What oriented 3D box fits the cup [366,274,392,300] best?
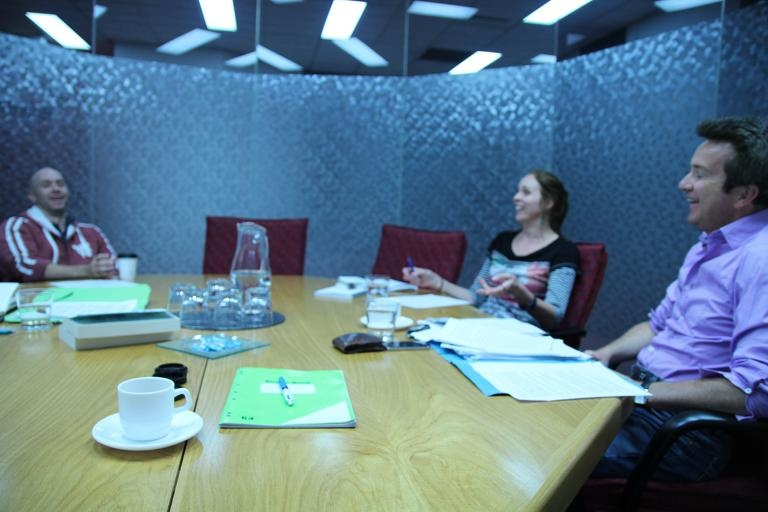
[{"bbox_3d":[-0.020,0.134,2.288,0.095,0.102,0.097,2,-4,0],"label":"cup"}]

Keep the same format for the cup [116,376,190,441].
[{"bbox_3d":[-0.554,0.348,1.259,0.170,0.116,0.126,4,-3,-27],"label":"cup"}]

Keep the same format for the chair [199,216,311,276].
[{"bbox_3d":[-0.854,-0.015,3.690,0.453,0.617,0.511,1,-5,-2],"label":"chair"}]

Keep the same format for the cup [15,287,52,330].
[{"bbox_3d":[-1.234,0.183,1.890,0.144,0.154,0.139,-1,-8,0],"label":"cup"}]

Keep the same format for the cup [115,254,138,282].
[{"bbox_3d":[-1.325,0.066,2.805,0.139,0.151,0.136,2,0,0],"label":"cup"}]

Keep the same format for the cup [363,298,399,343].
[{"bbox_3d":[-0.021,0.245,1.970,0.128,0.135,0.132,2,0,0],"label":"cup"}]

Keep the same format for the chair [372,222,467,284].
[{"bbox_3d":[0.326,0.003,3.635,0.414,0.565,0.470,6,-9,31],"label":"chair"}]

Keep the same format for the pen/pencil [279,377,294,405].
[{"bbox_3d":[-0.263,0.364,1.444,0.024,0.017,0.099,-7,20,-13],"label":"pen/pencil"}]
